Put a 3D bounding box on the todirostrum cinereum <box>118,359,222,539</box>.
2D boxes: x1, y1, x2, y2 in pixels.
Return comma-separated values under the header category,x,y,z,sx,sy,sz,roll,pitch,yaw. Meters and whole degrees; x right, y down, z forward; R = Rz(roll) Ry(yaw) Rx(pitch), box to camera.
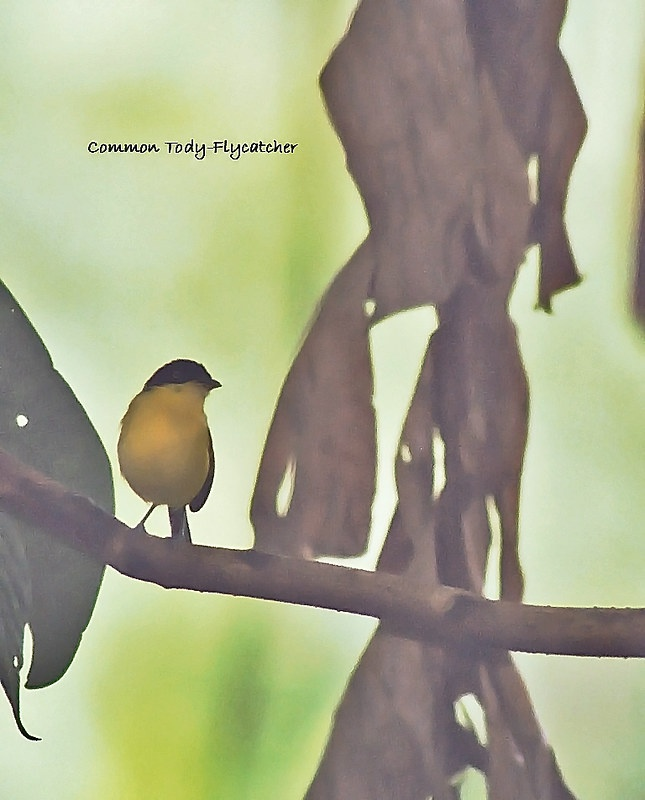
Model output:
category,x,y,z,sx,sy,sz,roll,pitch,yaw
todirostrum cinereum,-0.127,0.045,1.309,0.076,0.130,0.114,6,13,3
